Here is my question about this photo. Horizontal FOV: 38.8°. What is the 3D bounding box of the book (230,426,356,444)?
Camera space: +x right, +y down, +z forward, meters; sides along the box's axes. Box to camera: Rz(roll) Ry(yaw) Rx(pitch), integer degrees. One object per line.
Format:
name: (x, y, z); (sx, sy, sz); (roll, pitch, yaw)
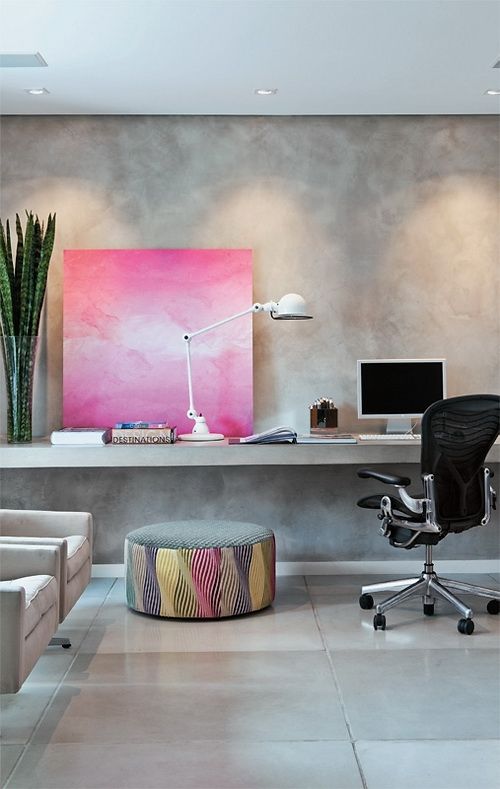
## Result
book: (0.196, 0.187, 3.509); (0.586, 0.077, 0.561); (0, -1, 0)

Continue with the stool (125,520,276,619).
stool: (-0.208, 0.760, 3.059); (0.647, 0.348, 0.408); (0, 0, -9)

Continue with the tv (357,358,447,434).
tv: (0.750, -0.010, 3.501); (0.389, 0.334, 0.113); (0, -5, 0)

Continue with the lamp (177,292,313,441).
lamp: (-0.036, -0.136, 3.582); (0.643, 0.722, 0.441); (0, 0, 0)
